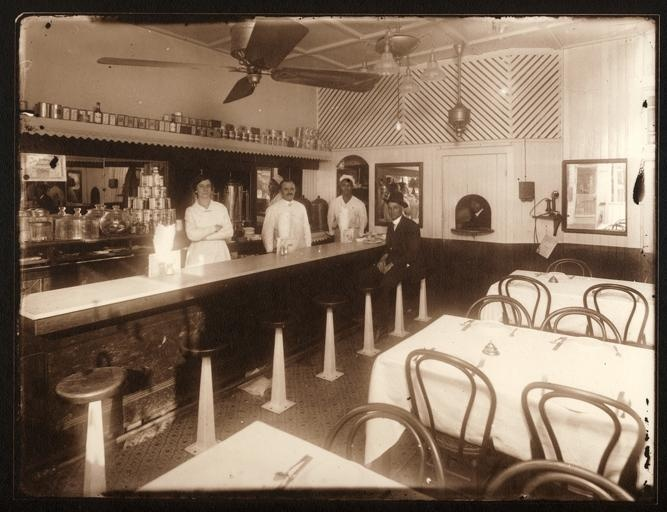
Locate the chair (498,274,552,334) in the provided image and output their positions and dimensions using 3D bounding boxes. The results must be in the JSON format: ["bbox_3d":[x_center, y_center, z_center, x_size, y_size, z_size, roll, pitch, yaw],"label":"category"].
[{"bbox_3d":[1.645,0.341,4.912,0.373,0.678,0.434,4,13,27],"label":"chair"}]

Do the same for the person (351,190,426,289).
[{"bbox_3d":[0.560,-0.155,5.369,0.580,0.991,0.670,-3,10,-14],"label":"person"}]

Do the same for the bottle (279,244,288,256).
[{"bbox_3d":[-0.469,-0.054,5.613,0.082,0.077,0.061,-2,10,-6],"label":"bottle"}]

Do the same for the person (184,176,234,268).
[{"bbox_3d":[-1.234,-0.321,5.824,0.463,0.833,0.348,-3,9,-14],"label":"person"}]

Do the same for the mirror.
[{"bbox_3d":[1.711,-0.384,3.818,0.031,0.550,0.451,-5,9,-22],"label":"mirror"}]

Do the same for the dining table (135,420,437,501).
[{"bbox_3d":[-0.319,1.031,2.984,1.239,0.238,0.329,-1,10,-1],"label":"dining table"}]

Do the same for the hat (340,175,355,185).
[{"bbox_3d":[0.146,-0.724,5.605,0.144,0.100,0.117,2,11,14],"label":"hat"}]

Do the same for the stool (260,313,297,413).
[{"bbox_3d":[-0.431,0.820,4.537,0.245,0.666,0.407,-2,9,-9],"label":"stool"}]

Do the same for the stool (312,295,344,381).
[{"bbox_3d":[-0.030,0.685,5.039,0.222,0.642,0.445,-1,10,1],"label":"stool"}]

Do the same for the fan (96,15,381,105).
[{"bbox_3d":[-0.245,-1.217,3.668,1.072,0.341,1.380,0,11,5],"label":"fan"}]
